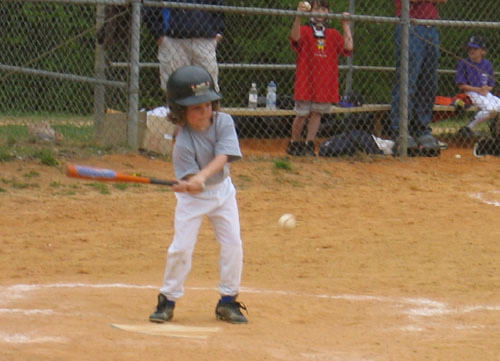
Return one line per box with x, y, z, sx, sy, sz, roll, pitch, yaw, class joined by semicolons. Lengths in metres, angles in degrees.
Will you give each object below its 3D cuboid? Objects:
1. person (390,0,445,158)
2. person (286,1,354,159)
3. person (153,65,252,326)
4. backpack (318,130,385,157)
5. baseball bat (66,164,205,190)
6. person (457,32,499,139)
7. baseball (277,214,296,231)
2.364;-1.362;12.679;0.784;2.117;0.728;5;13;11;person
0.932;-1.333;12.509;0.807;2.135;1.527;3;13;3;person
-0.443;0.142;8.545;0.834;2.271;0.581;1;13;-5;person
1.349;-0.482;12.736;0.535;0.224;0.470;-2;4;-23;backpack
-1.206;-0.024;9.522;0.847;0.111;0.134;10;-21;-9;baseball bat
3.327;-1.294;13.533;0.619;1.582;1.669;4;13;8;person
0.417;0.448;10.088;0.160;0.173;0.163;-5;-3;-26;baseball
